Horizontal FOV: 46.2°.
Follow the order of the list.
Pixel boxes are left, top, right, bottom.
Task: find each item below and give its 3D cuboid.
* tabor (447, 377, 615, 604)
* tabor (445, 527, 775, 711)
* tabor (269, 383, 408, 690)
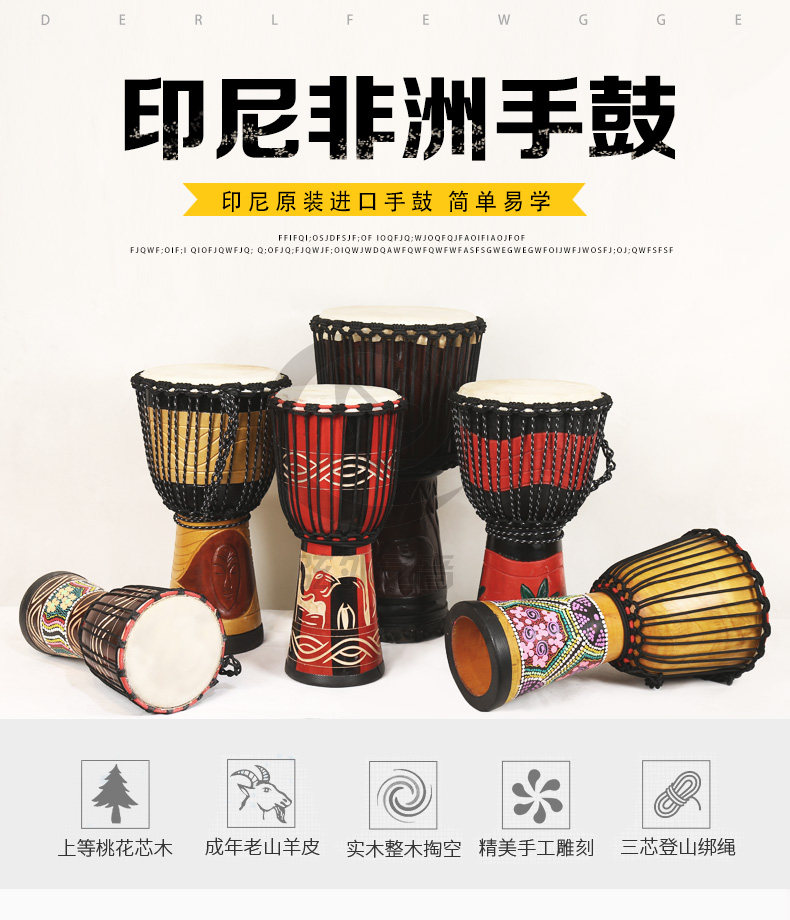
[{"bbox_3d":[0.179,0.013,2.024,0.452,0.578,0.395,-1,15,-5],"label":"tabor"},{"bbox_3d":[0.375,0.263,1.737,0.528,0.278,0.298,-9,4,-19],"label":"tabor"},{"bbox_3d":[-0.105,0.139,1.723,0.235,0.557,0.140,-1,5,-7],"label":"tabor"}]
